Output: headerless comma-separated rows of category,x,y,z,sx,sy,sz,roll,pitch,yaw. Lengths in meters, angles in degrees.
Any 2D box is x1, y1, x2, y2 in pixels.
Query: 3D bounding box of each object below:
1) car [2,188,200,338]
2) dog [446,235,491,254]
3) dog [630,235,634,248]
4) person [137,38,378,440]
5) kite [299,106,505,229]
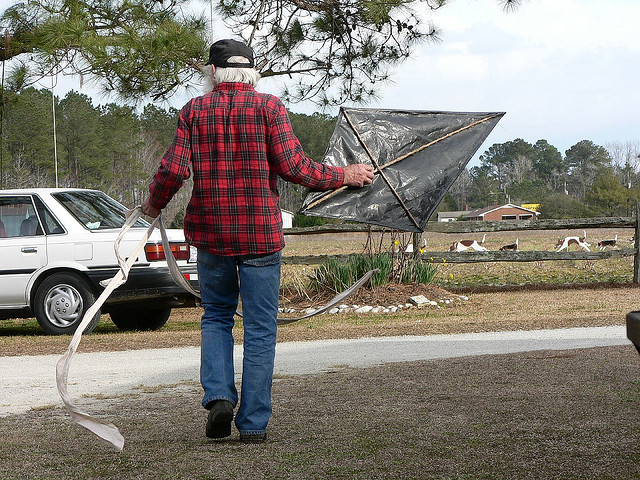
car,-2.664,0.304,11.452,3.068,1.248,1.532,1,-1,11
dog,4.360,0.099,27.306,1.609,0.774,0.514,1,-3,-3
dog,9.788,0.057,29.348,0.098,0.404,0.125,-1,8,19
person,-0.563,-0.016,6.657,1.355,2.849,0.509,0,1,-10
kite,0.659,-0.599,7.560,1.610,1.005,0.689,0,1,-7
